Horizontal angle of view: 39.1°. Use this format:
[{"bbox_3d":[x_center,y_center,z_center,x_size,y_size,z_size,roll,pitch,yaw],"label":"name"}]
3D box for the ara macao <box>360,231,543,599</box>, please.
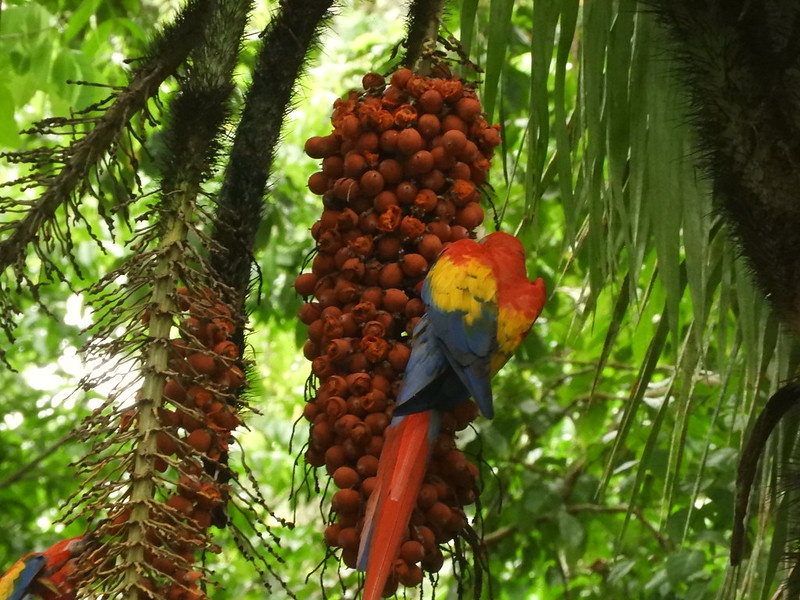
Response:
[{"bbox_3d":[0.070,0.185,2.027,0.215,0.639,0.330,24,-45,-2],"label":"ara macao"}]
